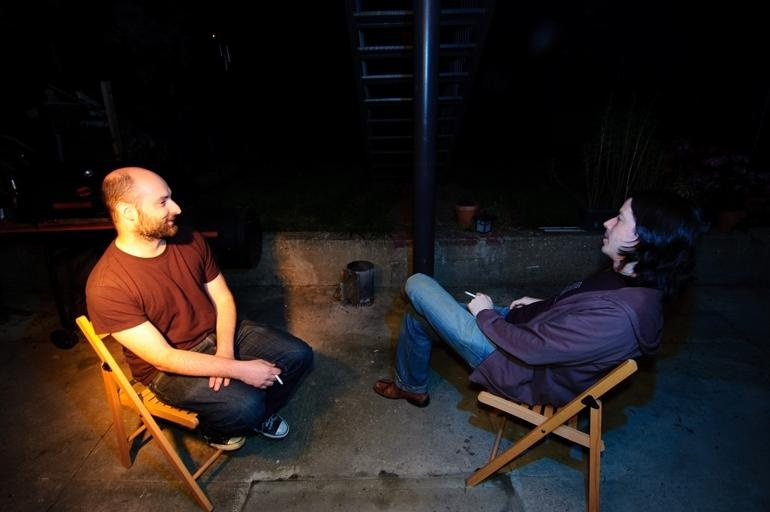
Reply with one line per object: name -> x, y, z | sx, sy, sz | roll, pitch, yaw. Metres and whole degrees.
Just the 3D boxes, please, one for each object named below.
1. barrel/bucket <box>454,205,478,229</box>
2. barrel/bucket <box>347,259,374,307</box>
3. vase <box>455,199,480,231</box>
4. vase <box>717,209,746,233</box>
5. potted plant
barrel/bucket -> 1.352, -0.662, 9.518 | 0.389, 0.369, 0.382 | 3, 21, -1
barrel/bucket -> -0.429, 0.473, 8.847 | 0.506, 0.558, 0.509 | -3, 17, 1
vase -> 1.361, -0.672, 9.455 | 0.443, 0.395, 0.431 | 6, 18, 9
vase -> 5.598, -0.585, 9.242 | 0.380, 0.382, 0.320 | -11, 32, -13
potted plant -> 4.109, -1.416, 10.088 | 1.253, 3.022, 1.524 | 5, -9, 13
